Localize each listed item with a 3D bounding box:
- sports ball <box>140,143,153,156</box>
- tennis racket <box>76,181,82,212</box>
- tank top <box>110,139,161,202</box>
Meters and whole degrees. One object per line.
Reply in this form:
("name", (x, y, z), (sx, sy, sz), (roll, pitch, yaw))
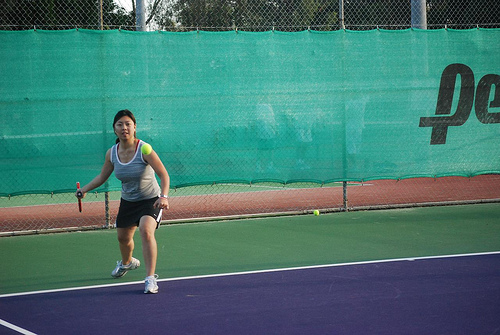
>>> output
("sports ball", (-1.311, -0.228, 6.772), (0.116, 0.135, 0.139), (0, 4, -6))
("tennis racket", (-2.223, 0.399, 6.972), (0.057, 0.434, 0.364), (-4, 11, -17))
("tank top", (-1.506, 0.044, 7.051), (0.604, 0.788, 0.448), (-4, 11, 26))
